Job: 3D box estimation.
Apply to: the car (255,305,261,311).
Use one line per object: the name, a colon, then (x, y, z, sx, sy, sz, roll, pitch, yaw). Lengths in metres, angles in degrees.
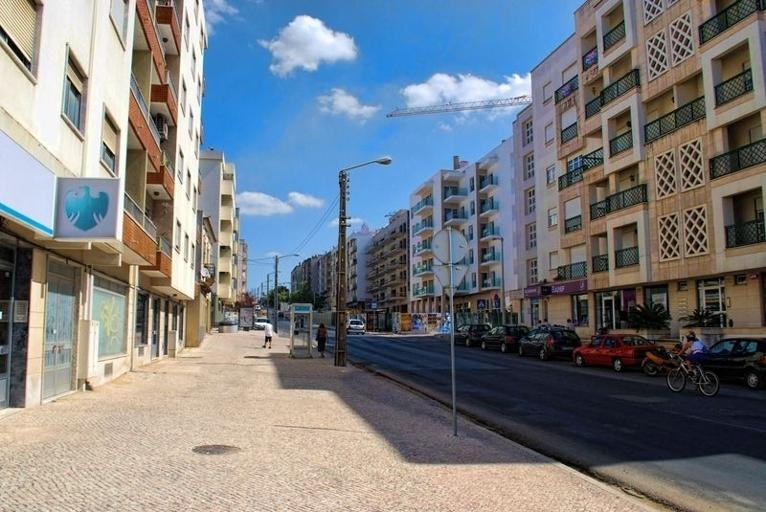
car: (-31.700, 12.818, 148.498, 1.623, 1.542, 1.454, 0, 9, -36)

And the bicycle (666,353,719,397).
bicycle: (10.158, 3.887, 19.425, 0.820, 1.204, 1.891, 6, -7, -28)
